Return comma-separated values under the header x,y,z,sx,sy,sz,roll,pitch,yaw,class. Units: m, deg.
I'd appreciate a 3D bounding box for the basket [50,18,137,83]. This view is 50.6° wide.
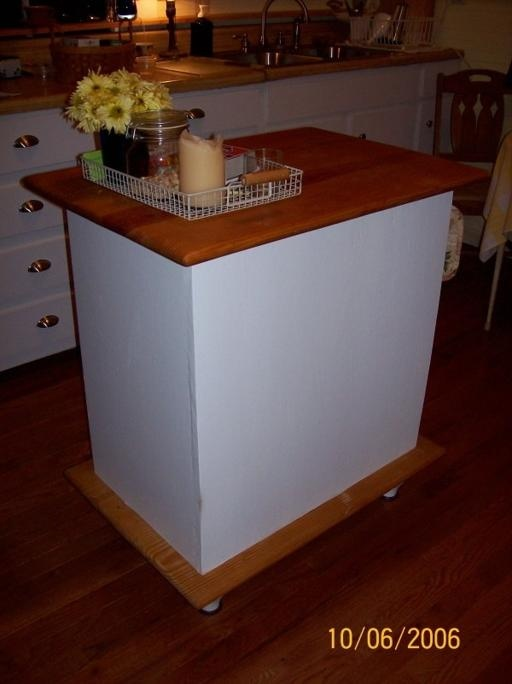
x,y,z,sx,sy,sz,roll,pitch,yaw,class
-0.599,-1.046,2.004,0.328,0.126,0.288,11,34,15,basket

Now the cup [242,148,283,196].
x,y,z,sx,sy,sz,roll,pitch,yaw,class
0.009,-0.278,0.892,0.071,0.077,0.070,2,32,-2,cup

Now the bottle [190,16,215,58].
x,y,z,sx,sy,sz,roll,pitch,yaw,class
-0.266,-1.476,2.622,0.112,0.157,0.217,-1,32,-5,bottle

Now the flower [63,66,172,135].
x,y,z,sx,sy,sz,roll,pitch,yaw,class
-0.228,-0.364,0.893,0.141,0.079,0.141,-1,46,4,flower

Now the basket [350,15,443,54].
x,y,z,sx,sy,sz,roll,pitch,yaw,class
0.738,-1.685,2.947,0.260,0.119,0.360,-3,30,-1,basket

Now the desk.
x,y,z,sx,sy,sz,roll,pitch,yaw,class
0.010,0.013,1.232,0.811,0.739,0.559,-16,31,-33,desk
